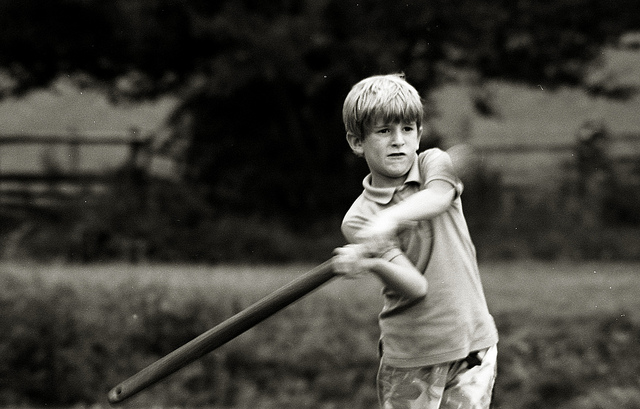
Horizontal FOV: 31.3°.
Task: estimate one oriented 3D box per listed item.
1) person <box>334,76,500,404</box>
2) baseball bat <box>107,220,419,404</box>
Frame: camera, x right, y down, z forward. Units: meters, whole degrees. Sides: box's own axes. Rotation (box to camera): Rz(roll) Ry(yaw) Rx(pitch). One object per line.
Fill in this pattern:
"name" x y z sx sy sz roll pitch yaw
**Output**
"person" 0.623 0.135 7.231 0.816 2.093 0.989 1 1 5
"baseball bat" -0.456 0.828 8.236 2.466 0.183 0.192 -31 2 7
